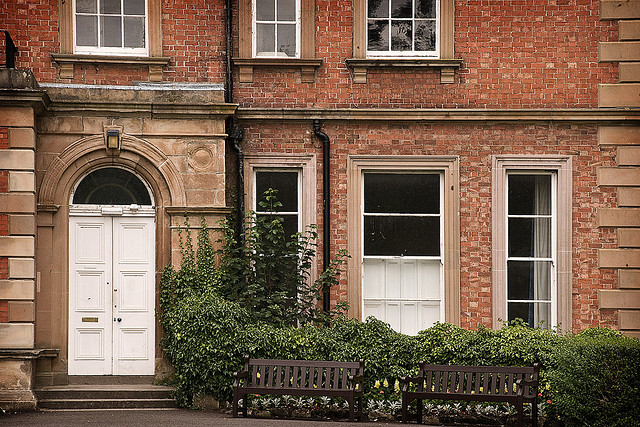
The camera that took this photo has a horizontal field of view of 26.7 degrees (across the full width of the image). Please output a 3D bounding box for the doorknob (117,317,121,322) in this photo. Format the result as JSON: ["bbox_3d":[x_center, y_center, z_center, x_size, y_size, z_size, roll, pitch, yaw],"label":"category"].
[{"bbox_3d":[-3.913,2.015,26.063,0.082,0.067,0.020,0,-10,-8],"label":"doorknob"}]
